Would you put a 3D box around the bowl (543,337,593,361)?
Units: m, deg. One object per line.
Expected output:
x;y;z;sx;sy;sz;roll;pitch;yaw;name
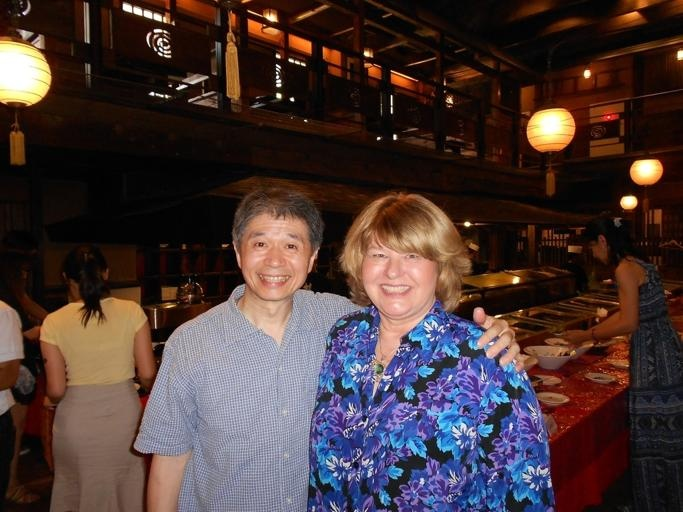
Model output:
1.779;0.721;4.223;0.235;0.078;0.234;1;-1;0;bowl

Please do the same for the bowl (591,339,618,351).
2.206;0.744;4.471;0.213;0.055;0.201;-10;-2;0;bowl

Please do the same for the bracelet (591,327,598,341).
1.917;0.598;4.039;0.019;0.068;0.076;5;-2;6;bracelet
